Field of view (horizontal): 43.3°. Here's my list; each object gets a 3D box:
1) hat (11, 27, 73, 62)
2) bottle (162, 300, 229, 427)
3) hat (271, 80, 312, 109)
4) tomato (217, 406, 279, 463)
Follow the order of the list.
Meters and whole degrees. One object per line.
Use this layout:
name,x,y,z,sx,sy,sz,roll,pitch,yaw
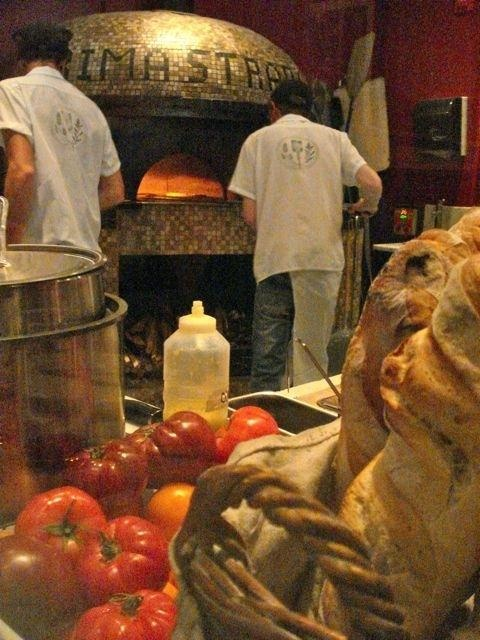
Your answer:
hat,-0.650,-0.902,1.999,0.137,0.077,0.158,-6,21,-20
bottle,-0.046,0.053,0.716,0.083,0.143,0.077,3,11,-1
hat,0.201,-0.899,2.427,0.133,0.075,0.132,21,31,24
tomato,0.011,0.104,0.623,0.070,0.064,0.068,-2,2,6
